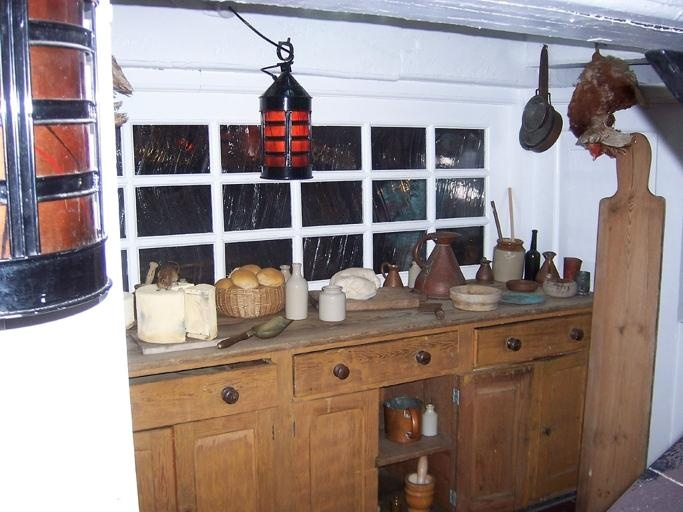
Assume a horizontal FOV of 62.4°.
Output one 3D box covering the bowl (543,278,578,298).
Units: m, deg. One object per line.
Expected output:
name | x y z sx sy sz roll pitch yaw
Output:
bowl | 1.031 0.157 2.659 0.147 0.081 0.081 0 6 20

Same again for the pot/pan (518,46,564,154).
pot/pan | 0.928 -0.720 2.632 0.141 0.450 0.311 -1 6 7

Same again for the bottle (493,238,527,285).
bottle | 0.863 0.026 2.910 0.150 0.220 0.070 -1 7 15

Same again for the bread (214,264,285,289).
bread | -0.344 0.089 2.283 0.238 0.085 0.150 0 10 -29

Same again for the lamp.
lamp | -0.259 -0.624 2.096 0.238 0.694 0.477 -3 6 -10

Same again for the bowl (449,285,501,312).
bowl | 0.573 0.179 2.422 0.138 0.050 0.131 -3 10 0

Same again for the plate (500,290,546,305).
plate | 0.844 0.194 2.628 0.191 0.033 0.272 0 6 17

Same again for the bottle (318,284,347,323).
bottle | -0.036 0.197 2.300 0.127 0.138 0.124 -1 9 -9

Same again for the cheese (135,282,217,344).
cheese | -0.581 0.203 2.004 0.267 0.189 0.191 -4 6 -18

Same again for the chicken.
chicken | 1.037 -0.599 2.256 0.322 0.416 0.115 6 13 40

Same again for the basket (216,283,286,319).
basket | -0.391 0.169 2.357 0.269 0.128 0.202 -3 14 -37
